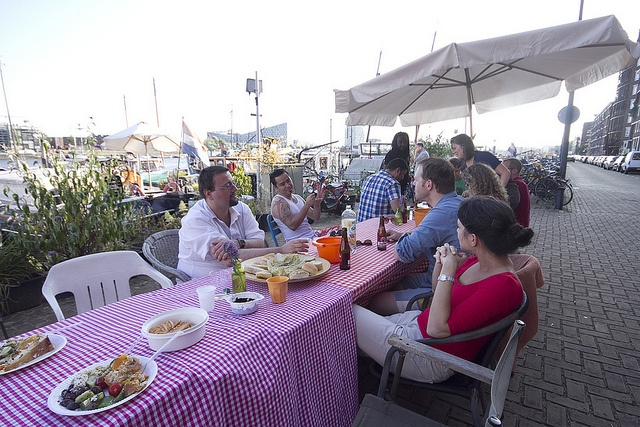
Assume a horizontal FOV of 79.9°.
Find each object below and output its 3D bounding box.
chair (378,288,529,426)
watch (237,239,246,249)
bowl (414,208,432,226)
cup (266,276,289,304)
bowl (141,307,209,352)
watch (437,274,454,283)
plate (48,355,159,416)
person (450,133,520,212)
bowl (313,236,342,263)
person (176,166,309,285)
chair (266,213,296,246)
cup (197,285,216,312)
[{"bbox_3d":[1.085,1.206,3.261,1.130,1.100,1.062,1,0,25],"label":"chair"},{"bbox_3d":[-0.787,0.309,3.874,0.062,0.089,0.090,1,-28,5],"label":"watch"},{"bbox_3d":[1.248,0.042,4.730,0.200,0.163,0.214,3,2,0],"label":"bowl"},{"bbox_3d":[-0.327,0.605,3.021,0.157,0.183,0.168,-3,11,1],"label":"cup"},{"bbox_3d":[-0.988,0.748,2.629,0.287,0.118,0.305,1,6,0],"label":"bowl"},{"bbox_3d":[0.968,0.530,2.985,0.087,0.065,0.084,-6,-27,33],"label":"watch"},{"bbox_3d":[-1.481,1.089,2.394,0.336,0.068,0.390,1,12,6],"label":"plate"},{"bbox_3d":[2.786,-0.356,6.484,0.613,2.113,0.749,-21,14,-21],"label":"person"},{"bbox_3d":[0.097,0.365,3.680,0.236,0.159,0.217,-5,-6,-1],"label":"bowl"},{"bbox_3d":[-0.806,0.156,3.966,1.460,1.201,0.969,5,11,18],"label":"person"},{"bbox_3d":[-0.615,0.191,5.148,0.317,0.518,0.293,1,8,27],"label":"chair"},{"bbox_3d":[-0.853,0.648,2.895,0.160,0.176,0.170,-1,-3,0],"label":"cup"}]
